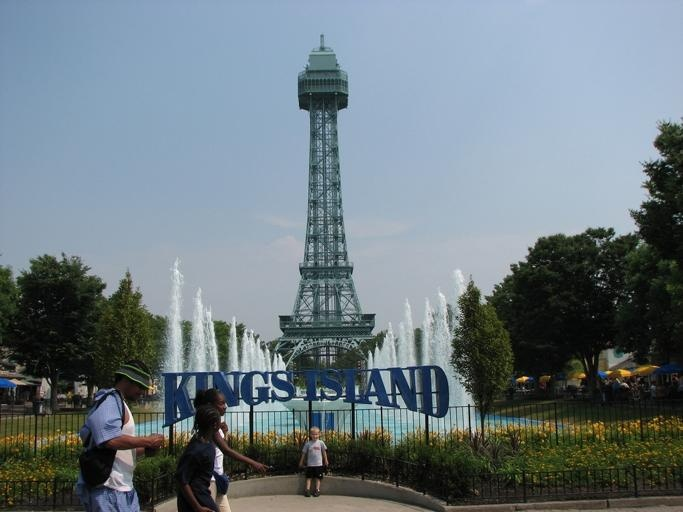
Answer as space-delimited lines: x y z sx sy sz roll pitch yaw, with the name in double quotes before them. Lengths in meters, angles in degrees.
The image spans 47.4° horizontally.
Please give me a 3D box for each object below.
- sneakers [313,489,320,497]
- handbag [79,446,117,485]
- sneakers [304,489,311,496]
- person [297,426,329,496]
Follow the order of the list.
"sneakers" -0.719 6.864 22.522 0.240 0.236 0.125 4 -11 -5
"handbag" -4.760 4.110 15.203 0.688 0.993 0.552 3 -2 6
"sneakers" -0.961 6.883 22.542 0.157 0.166 0.109 -1 -13 -3
"person" -0.821 6.022 22.782 0.802 1.962 0.998 -1 -13 -2
